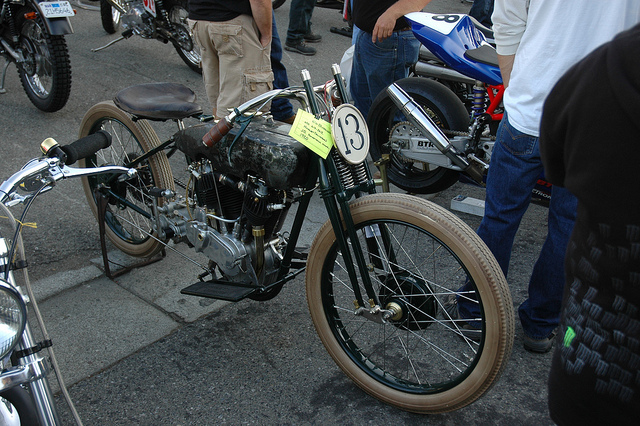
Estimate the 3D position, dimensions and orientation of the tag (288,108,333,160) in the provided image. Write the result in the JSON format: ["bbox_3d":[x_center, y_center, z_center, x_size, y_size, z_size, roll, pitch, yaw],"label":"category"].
[{"bbox_3d":[-0.028,-0.402,2.659,0.246,0.200,0.018,29,39,14],"label":"tag"}]
